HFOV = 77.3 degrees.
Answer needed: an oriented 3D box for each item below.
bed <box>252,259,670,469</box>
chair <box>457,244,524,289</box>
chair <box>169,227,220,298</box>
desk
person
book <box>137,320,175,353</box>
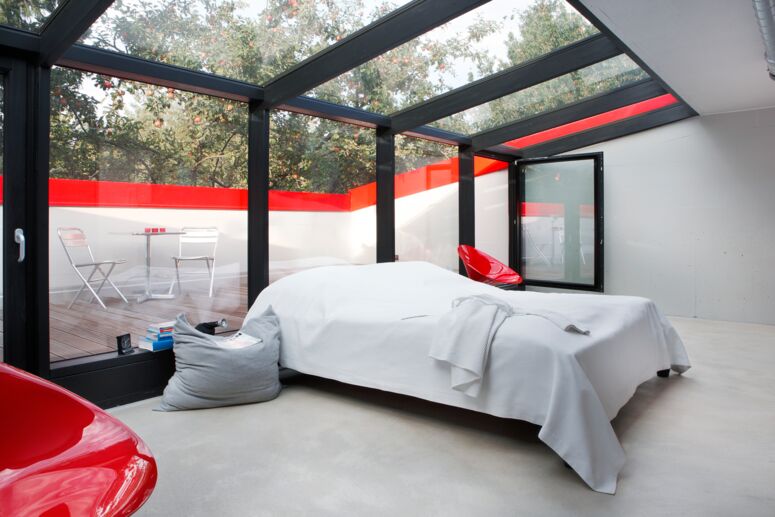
[{"bbox_3d":[0.502,0.620,3.649,1.993,0.577,1.713,6,6,32],"label":"bed"},{"bbox_3d":[1.291,0.105,6.289,0.678,0.317,0.684,9,-4,35],"label":"chair"},{"bbox_3d":[-1.727,-0.022,4.739,0.441,0.750,0.568,0,1,-10],"label":"chair"},{"bbox_3d":[-2.090,0.037,4.280,0.641,0.575,0.643,-2,-3,18],"label":"desk"},{"bbox_3d":[-0.701,-0.655,5.304,0.434,1.376,0.178,-10,14,-42],"label":"person"},{"bbox_3d":[-1.970,0.678,4.192,0.243,0.106,0.319,3,4,28],"label":"book"}]
